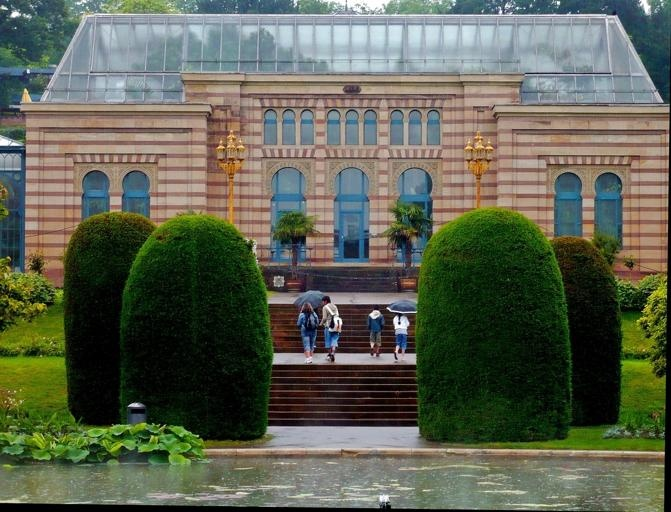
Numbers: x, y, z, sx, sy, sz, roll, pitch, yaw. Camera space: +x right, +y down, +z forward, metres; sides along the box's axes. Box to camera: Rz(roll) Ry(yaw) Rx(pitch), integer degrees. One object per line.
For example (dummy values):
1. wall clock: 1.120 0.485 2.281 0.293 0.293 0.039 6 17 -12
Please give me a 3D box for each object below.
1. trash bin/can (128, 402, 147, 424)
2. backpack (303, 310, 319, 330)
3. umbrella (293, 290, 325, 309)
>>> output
1. trash bin/can: -7.077 5.542 62.278 0.694 1.033 0.706 -2 -2 23
2. backpack: -1.010 2.540 71.009 0.642 0.750 0.472 4 14 -7
3. umbrella: -1.064 1.667 72.722 0.934 0.896 0.614 7 -40 33
